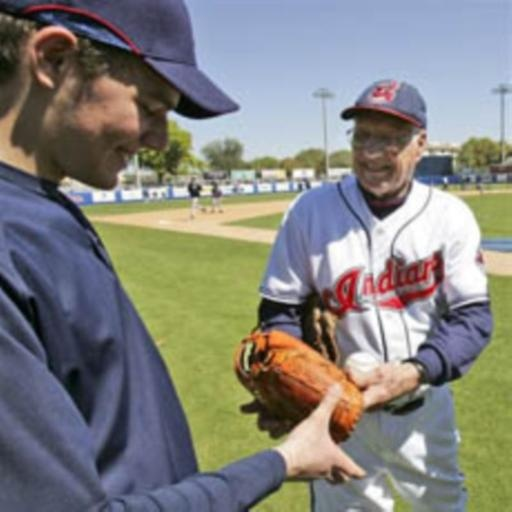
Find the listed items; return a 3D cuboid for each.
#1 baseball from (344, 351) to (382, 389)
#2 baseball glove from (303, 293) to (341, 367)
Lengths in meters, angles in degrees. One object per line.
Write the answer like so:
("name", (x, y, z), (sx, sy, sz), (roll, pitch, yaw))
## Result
("baseball", (0.348, 0.368, 2.022), (0.085, 0.099, 0.108), (-1, 0, 29))
("baseball glove", (0.232, 0.253, 2.364), (0.144, 0.228, 0.228), (17, 24, 28))
